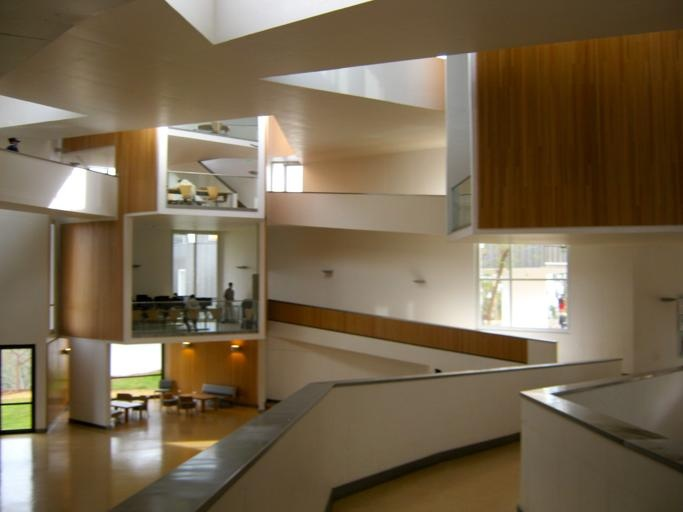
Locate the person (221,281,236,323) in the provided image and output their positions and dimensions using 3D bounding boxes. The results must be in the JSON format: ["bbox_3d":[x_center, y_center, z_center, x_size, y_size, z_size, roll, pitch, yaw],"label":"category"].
[{"bbox_3d":[-3.257,1.415,16.367,0.335,0.938,0.524,0,-2,-13],"label":"person"}]
